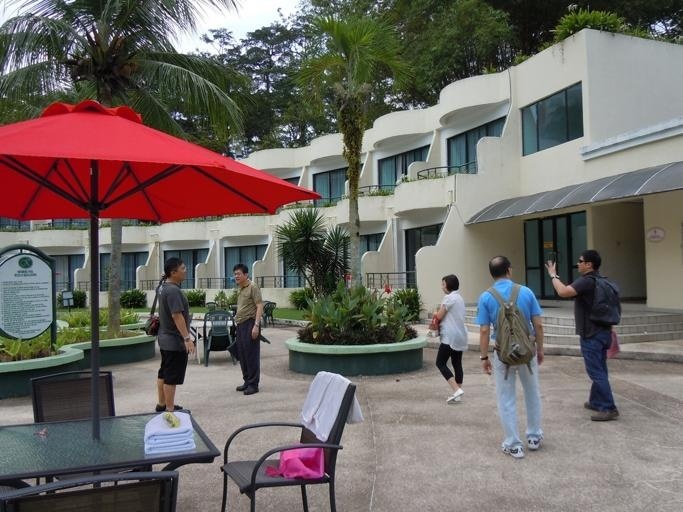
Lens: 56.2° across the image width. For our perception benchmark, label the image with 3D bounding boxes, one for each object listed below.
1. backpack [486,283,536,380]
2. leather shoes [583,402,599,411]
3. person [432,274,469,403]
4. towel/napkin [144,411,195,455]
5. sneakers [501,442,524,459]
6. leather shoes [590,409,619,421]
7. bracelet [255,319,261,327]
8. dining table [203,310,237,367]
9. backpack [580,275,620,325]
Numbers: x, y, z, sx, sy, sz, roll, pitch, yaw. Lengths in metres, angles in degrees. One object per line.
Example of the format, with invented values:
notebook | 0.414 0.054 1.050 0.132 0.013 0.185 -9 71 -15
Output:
backpack | 2.194 0.959 8.166 0.389 1.165 0.571 -10 -5 14
leather shoes | 3.749 2.284 9.689 0.056 0.080 0.166 -3 12 -15
person | 1.767 1.361 10.507 0.528 2.053 0.783 0 -5 11
towel/napkin | -1.725 1.787 6.478 0.506 0.359 0.496 3 -6 -15
sneakers | 2.163 2.457 8.110 0.111 0.149 0.284 -1 3 -23
leather shoes | 3.754 2.294 9.212 0.379 0.205 0.170 3 -1 5
bracelet | -1.417 1.154 10.930 0.085 0.079 0.092 -3 -7 29
dining table | -2.664 1.637 14.053 0.678 1.301 0.861 -3 22 -18
backpack | 3.848 0.677 9.304 0.488 0.801 0.362 6 -7 -37
